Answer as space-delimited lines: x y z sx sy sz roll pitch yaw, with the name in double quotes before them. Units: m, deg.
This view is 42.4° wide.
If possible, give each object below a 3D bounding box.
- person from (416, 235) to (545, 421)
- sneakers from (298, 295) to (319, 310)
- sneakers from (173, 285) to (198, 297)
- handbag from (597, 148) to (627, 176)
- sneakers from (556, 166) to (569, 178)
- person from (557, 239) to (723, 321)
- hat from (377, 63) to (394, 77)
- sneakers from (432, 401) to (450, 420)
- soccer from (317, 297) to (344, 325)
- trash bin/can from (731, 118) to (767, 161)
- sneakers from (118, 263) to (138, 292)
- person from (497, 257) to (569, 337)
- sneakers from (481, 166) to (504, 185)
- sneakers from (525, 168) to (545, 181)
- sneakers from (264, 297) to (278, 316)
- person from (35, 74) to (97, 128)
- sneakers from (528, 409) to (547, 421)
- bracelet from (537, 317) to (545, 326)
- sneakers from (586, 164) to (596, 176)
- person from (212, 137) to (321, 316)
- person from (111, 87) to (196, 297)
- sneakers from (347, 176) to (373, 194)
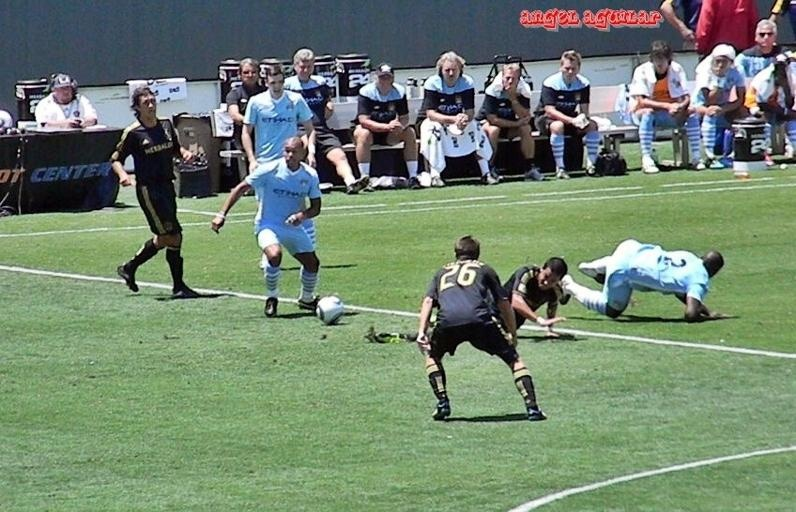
"person" 0.847 0.681 9.942 1.254 1.775 0.940 -1 -11 20
"sneakers" -1.107 0.591 12.738 0.335 0.154 0.116 -2 41 -8
"sneakers" -2.744 0.468 13.246 0.316 0.149 0.209 -3 5 -13
"handbag" 4.279 -1.904 21.119 0.478 0.538 0.583 -2 6 -25
"sneakers" 3.347 -1.705 20.998 0.252 0.240 0.393 -1 5 9
"person" 2.890 0.213 12.079 1.736 0.639 1.009 1 33 13
"hat" -0.264 -3.624 19.884 0.305 0.256 0.364 -2 5 -3
"sneakers" 0.400 1.438 9.603 0.173 0.211 0.248 -2 5 4
"soccer" -0.805 0.633 12.037 0.344 0.303 0.317 1 5 -9
"trash bin/can" 6.976 -2.301 20.341 0.649 0.869 0.492 -1 5 11
"sneakers" -3.553 0.288 13.460 0.172 0.349 0.125 8 45 43
"person" 1.477 0.484 11.111 0.417 0.632 0.876 -18 -19 -29
"sneakers" 1.907 -1.611 20.770 0.219 0.235 0.588 3 8 26
"sneakers" 2.758 -1.661 20.949 0.181 0.197 0.464 -14 9 -29
"sneakers" -1.543 0.610 12.454 0.115 0.117 0.278 2 13 -1
"person" -6.239 -2.883 19.259 1.133 1.167 1.472 -3 -16 -23
"sneakers" 1.281 1.480 9.547 0.083 0.081 0.210 5 6 42
"bracelet" 1.432 0.657 10.327 0.082 0.041 0.105 8 -2 7
"sneakers" 3.955 -1.771 21.037 0.223 0.228 0.580 2 8 5
"person" -1.499 -0.371 12.636 1.054 2.152 0.795 -2 5 2
"person" -3.162 -0.844 13.308 0.996 2.754 0.904 -4 5 -11
"sneakers" -0.677 -1.343 19.621 0.531 0.254 0.234 -31 -22 22
